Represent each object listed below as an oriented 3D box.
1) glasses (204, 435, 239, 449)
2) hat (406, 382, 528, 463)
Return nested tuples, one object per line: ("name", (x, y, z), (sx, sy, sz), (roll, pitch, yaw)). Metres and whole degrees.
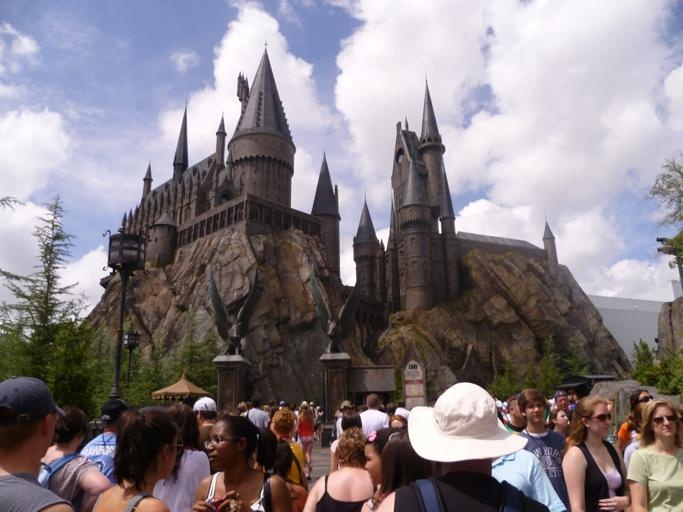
("glasses", (-1.130, 1.751, 5.894), (0.176, 0.057, 0.169), (20, -30, -35))
("hat", (0.961, 1.206, 4.864), (0.930, 0.372, 0.877), (9, 12, -30))
